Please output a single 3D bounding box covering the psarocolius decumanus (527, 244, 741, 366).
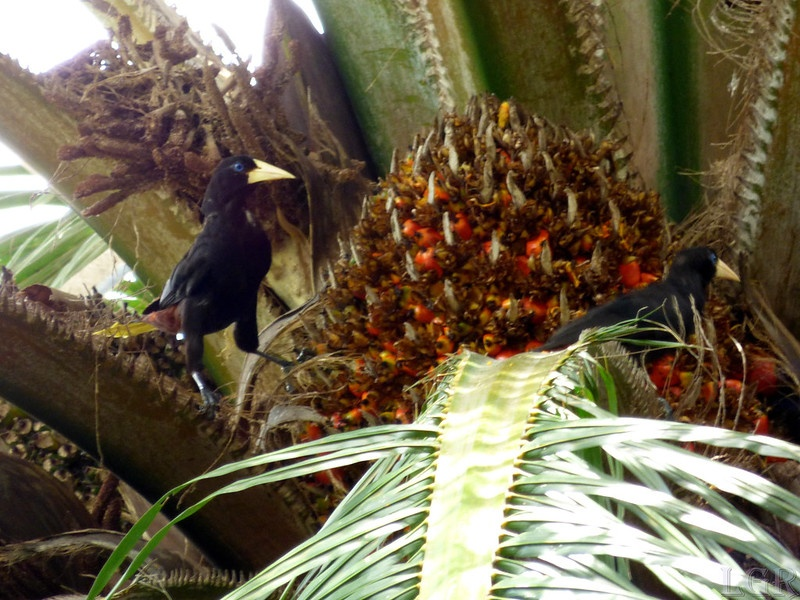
[{"bbox_3d":[0.435,0.023,1.925,0.264,0.296,0.415,-7,-8,36],"label":"psarocolius decumanus"}]
